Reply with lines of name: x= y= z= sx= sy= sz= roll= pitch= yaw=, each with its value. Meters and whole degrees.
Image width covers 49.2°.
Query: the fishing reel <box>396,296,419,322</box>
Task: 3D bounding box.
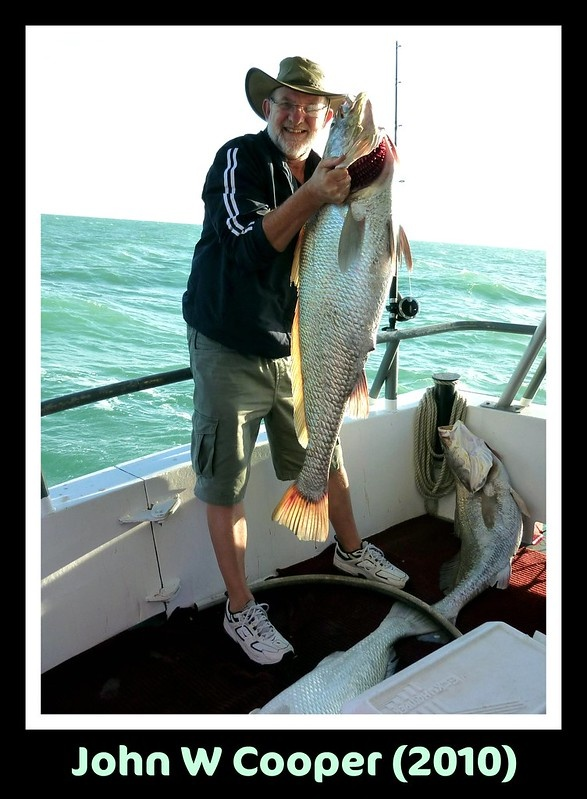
fishing reel: x=0.601 y=-0.490 z=3.468 sx=0.117 sy=0.123 sz=0.031 roll=-7 pitch=3 yaw=-13

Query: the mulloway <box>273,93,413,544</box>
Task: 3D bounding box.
mulloway: x=0.153 y=-0.199 z=1.945 sx=0.402 sy=1.325 sz=0.293 roll=14 pitch=11 yaw=26
